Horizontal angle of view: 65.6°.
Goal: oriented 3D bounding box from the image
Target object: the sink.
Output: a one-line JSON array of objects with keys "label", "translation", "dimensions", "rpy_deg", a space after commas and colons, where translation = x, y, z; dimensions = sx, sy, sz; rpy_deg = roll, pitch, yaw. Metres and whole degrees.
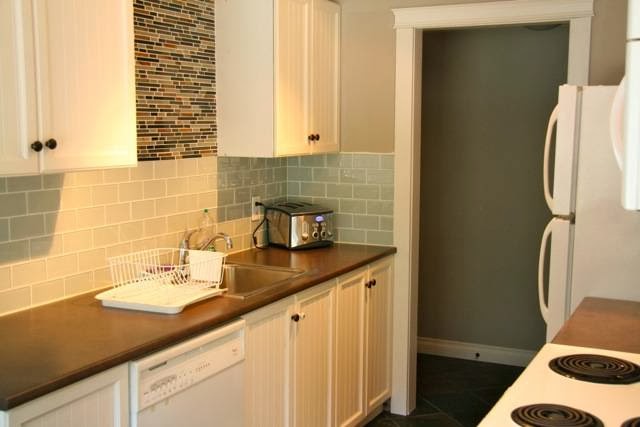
[{"label": "sink", "translation": [-0.368, 0.393, 3.072], "dimensions": [0.327, 0.132, 0.268], "rpy_deg": [5, 8, 35]}]

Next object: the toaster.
[{"label": "toaster", "translation": [-0.187, 0.087, 3.806], "dimensions": [0.413, 0.330, 0.481], "rpy_deg": [-5, 10, -35]}]

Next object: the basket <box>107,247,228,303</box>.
[{"label": "basket", "translation": [-0.877, 0.312, 2.686], "dimensions": [0.319, 0.144, 0.424], "rpy_deg": [4, 3, 23]}]
